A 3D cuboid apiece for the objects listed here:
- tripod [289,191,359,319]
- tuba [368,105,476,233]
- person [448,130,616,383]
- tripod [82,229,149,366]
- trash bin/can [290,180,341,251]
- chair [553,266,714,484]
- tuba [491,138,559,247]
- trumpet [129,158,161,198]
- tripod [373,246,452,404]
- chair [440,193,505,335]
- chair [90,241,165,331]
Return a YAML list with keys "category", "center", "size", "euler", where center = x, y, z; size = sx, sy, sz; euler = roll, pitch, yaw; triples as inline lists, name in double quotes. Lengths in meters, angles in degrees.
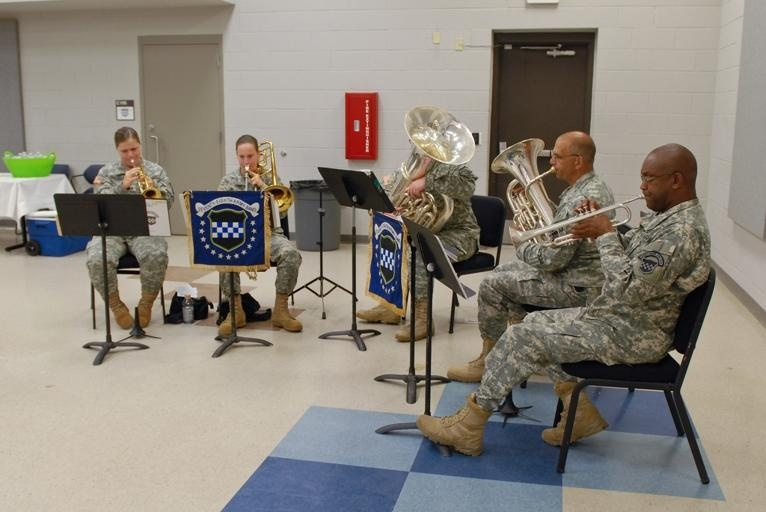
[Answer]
- category: "tripod"
  center: [-0.743, -0.067, 7.703]
  size: [0.680, 1.573, 0.825]
  euler: [3, 14, -12]
- category: "tuba"
  center: [0.367, -0.736, 4.780]
  size: [0.617, 1.033, 0.689]
  euler: [-2, 14, -28]
- category: "person"
  center: [1.117, 0.027, 4.430]
  size: [1.049, 1.807, 0.748]
  euler: [7, 6, 17]
- category: "tripod"
  center: [-2.247, 0.316, 5.080]
  size: [0.455, 1.015, 0.531]
  euler: [2, -19, -38]
- category: "trash bin/can"
  center: [-0.873, -0.521, 7.929]
  size: [0.779, 0.918, 0.716]
  euler: [0, 10, -6]
- category: "chair"
  center: [1.491, 0.645, 3.758]
  size: [0.783, 1.376, 0.636]
  euler: [1, 4, 10]
- category: "tuba"
  center: [0.979, -0.452, 4.230]
  size: [0.403, 0.825, 0.373]
  euler: [4, 24, 10]
- category: "trumpet"
  center: [-2.049, -0.650, 5.299]
  size: [0.193, 0.220, 0.764]
  euler: [-6, 15, -21]
- category: "tripod"
  center: [0.189, 0.476, 4.192]
  size: [0.451, 1.126, 0.499]
  euler: [4, 33, 4]
- category: "chair"
  center: [0.838, 0.098, 5.355]
  size: [0.540, 1.200, 0.557]
  euler: [3, 15, -11]
- category: "chair"
  center: [-2.266, 0.170, 5.519]
  size: [0.639, 0.896, 0.683]
  euler: [-1, 16, -4]
